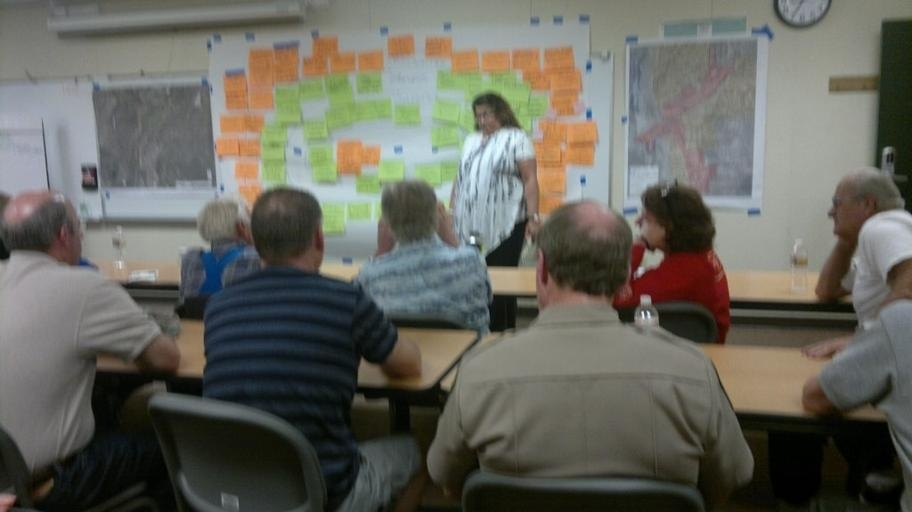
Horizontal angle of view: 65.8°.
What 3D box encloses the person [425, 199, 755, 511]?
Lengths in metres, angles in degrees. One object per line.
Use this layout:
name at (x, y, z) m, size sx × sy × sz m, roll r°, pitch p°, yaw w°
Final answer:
person at (0.595, 0.464, 3.247) m, size 1.440 × 1.411 × 0.427 m, roll -2°, pitch 8°, yaw -6°
